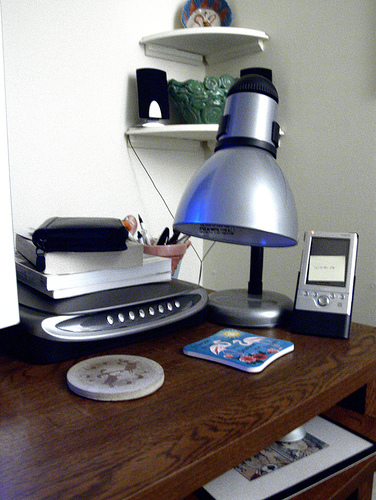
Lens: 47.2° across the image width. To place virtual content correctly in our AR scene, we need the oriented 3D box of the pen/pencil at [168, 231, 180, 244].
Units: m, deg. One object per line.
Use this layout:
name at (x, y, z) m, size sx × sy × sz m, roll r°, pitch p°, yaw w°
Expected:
pen/pencil at (-0.029, -0.026, 0.929) m, size 0.014 × 0.015 × 0.039 m, roll 27°, pitch -6°, yaw -1°

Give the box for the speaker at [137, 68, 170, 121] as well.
speaker at (-0.101, -0.420, 1.193) m, size 0.088 × 0.137 × 0.162 m, roll 2°, pitch 11°, yaw -7°

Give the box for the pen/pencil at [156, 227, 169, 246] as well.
pen/pencil at (-0.059, -0.023, 0.958) m, size 0.016 × 0.051 × 0.019 m, roll 26°, pitch 32°, yaw 7°

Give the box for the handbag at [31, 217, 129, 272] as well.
handbag at (-0.159, -0.014, 0.663) m, size 0.127 × 0.066 × 0.152 m, roll 1°, pitch 11°, yaw -8°
